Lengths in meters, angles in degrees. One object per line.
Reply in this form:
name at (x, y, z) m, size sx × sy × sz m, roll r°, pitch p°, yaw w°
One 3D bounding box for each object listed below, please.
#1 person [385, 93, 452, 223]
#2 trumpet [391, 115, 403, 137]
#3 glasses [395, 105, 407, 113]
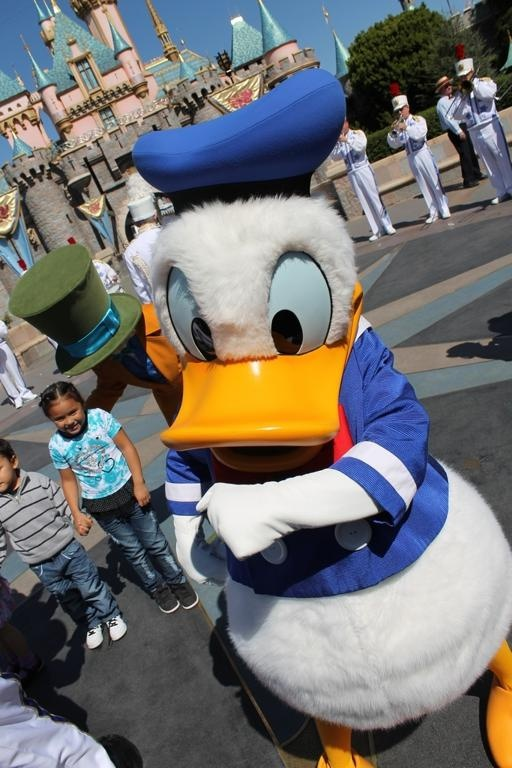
person at (2.306, -3.287, 7.855) m, size 0.869 × 1.814 × 0.431 m, roll -19°, pitch 8°, yaw -30°
trumpet at (2.079, -3.787, 7.938) m, size 0.084 × 0.130 × 0.319 m, roll -81°, pitch 15°, yaw -51°
glasses at (2.095, -3.981, 7.767) m, size 0.143 × 0.052 × 0.106 m, roll -46°, pitch 34°, yaw -21°
